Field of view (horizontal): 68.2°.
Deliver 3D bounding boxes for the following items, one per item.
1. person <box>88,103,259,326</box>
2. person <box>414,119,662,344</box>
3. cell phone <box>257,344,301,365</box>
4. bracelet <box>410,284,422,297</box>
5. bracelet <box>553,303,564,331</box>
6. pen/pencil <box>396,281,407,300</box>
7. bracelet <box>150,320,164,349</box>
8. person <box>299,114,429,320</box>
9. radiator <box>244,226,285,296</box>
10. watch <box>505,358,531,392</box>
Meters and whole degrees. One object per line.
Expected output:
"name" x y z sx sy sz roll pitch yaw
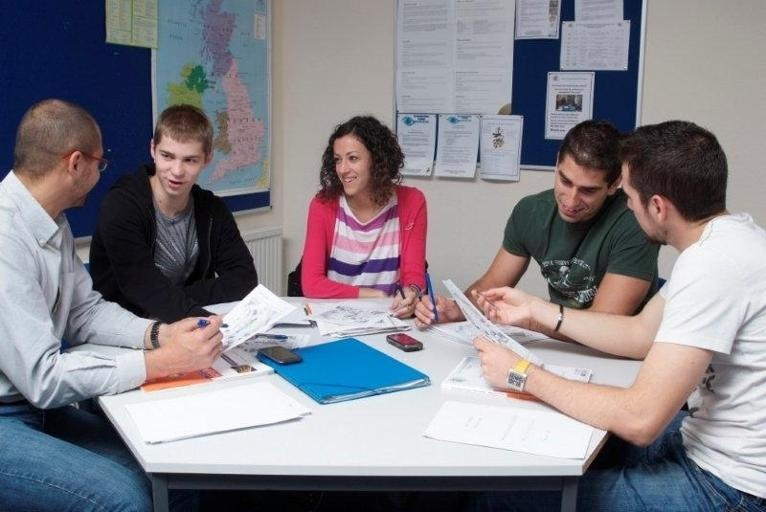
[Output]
"person" -0.944 -0.195 2.659 0.760 0.940 1.004 0 11 -29
"person" 0.870 -0.209 2.699 1.176 0.962 0.803 -11 30 -35
"cell phone" -0.380 0.355 2.021 0.096 0.018 0.166 -3 16 -31
"bracelet" 0.151 0.170 2.691 0.044 0.053 0.057 -5 3 3
"bracelet" 0.672 0.239 2.174 0.018 0.077 0.072 5 -2 5
"pen/pencil" 0.083 0.164 2.654 0.026 0.011 0.097 8 28 -13
"bracelet" -0.861 0.291 2.115 0.057 0.092 0.089 2 -6 -8
"person" -0.106 -0.270 3.219 0.860 1.334 0.942 0 3 -1
"radiator" -0.830 0.020 3.855 0.073 0.437 0.437 13 23 28
"watch" 0.430 0.389 1.861 0.063 0.095 0.098 23 -14 11
